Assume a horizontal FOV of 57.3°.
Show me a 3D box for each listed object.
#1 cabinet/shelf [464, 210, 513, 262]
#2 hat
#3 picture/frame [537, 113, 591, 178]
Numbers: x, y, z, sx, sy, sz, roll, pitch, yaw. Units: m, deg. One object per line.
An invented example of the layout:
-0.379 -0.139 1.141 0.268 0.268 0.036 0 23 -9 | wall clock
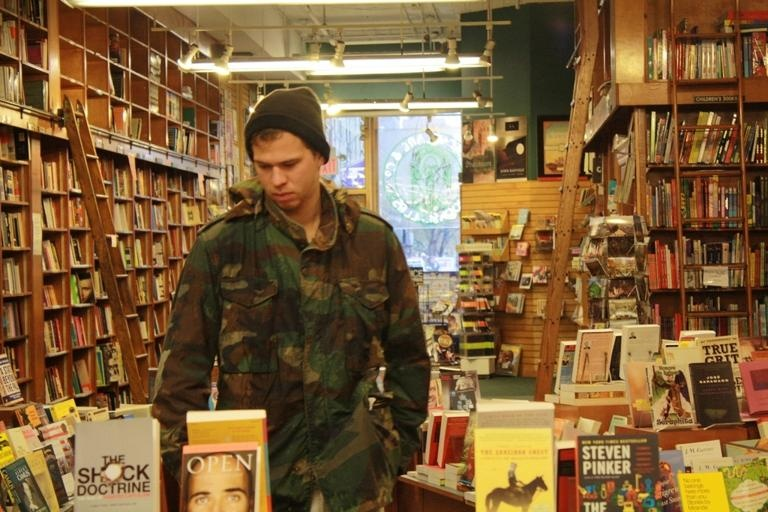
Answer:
1.912 -0.340 12.714 0.912 0.892 0.332 -2 -2 26 | cabinet/shelf
-0.423 -0.540 2.887 0.349 0.370 0.385 -5 -4 -3 | hat
3.264 -1.937 12.856 0.877 1.227 0.086 -1 -8 6 | picture/frame
